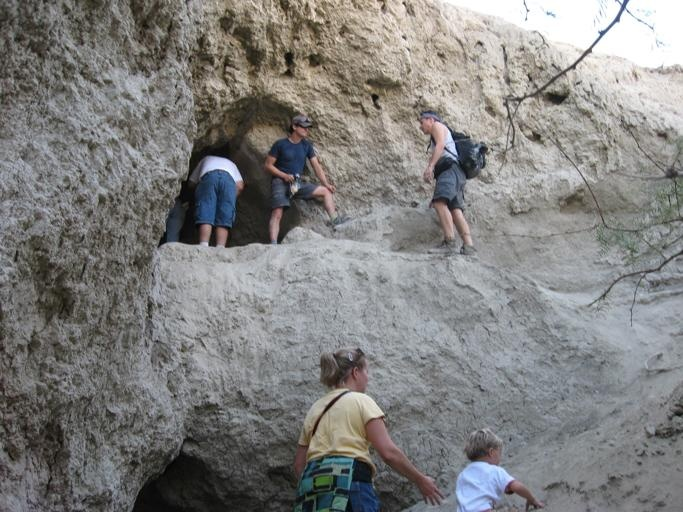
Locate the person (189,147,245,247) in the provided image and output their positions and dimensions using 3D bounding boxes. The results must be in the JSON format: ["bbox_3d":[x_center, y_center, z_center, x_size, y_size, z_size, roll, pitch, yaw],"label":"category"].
[{"bbox_3d":[-1.176,-0.495,10.120,0.504,1.304,0.517,1,-33,-12],"label":"person"}]

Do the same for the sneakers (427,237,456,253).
[{"bbox_3d":[0.915,-0.104,10.057,0.301,0.162,0.114,2,-5,-2],"label":"sneakers"}]

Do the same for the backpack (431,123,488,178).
[{"bbox_3d":[1.174,-1.011,10.251,0.377,0.614,0.401,-7,0,7],"label":"backpack"}]

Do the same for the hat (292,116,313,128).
[{"bbox_3d":[-0.379,-1.304,10.417,0.154,0.102,0.117,8,9,36],"label":"hat"}]

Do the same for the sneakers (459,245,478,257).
[{"bbox_3d":[1.186,-0.059,10.002,0.104,0.121,0.094,-8,7,-16],"label":"sneakers"}]

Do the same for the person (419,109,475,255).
[{"bbox_3d":[0.990,-0.786,10.292,0.383,1.751,0.652,-11,-32,8],"label":"person"}]

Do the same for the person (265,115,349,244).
[{"bbox_3d":[-0.432,-0.683,10.519,0.652,1.277,0.871,-10,-33,6],"label":"person"}]
